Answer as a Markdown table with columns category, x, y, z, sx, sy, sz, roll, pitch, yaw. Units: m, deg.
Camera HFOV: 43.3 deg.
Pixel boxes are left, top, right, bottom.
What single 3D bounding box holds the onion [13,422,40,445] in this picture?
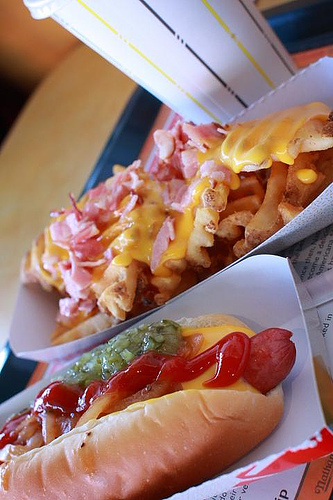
| category | x | y | z | sx | sy | sz | roll | pitch | yaw |
| --- | --- | --- | --- | --- | --- | --- | --- | --- | --- |
| onion | -0.273 | 0.361 | 0.830 | 0.054 | 0.012 | 0.032 | -34 | 4 | 4 |

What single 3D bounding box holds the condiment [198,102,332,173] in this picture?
| category | x | y | z | sx | sy | sz | roll | pitch | yaw |
| --- | --- | --- | --- | --- | --- | --- | --- | --- | --- |
| condiment | 0.205 | -0.237 | 0.906 | 0.293 | 0.129 | 0.228 | -14 | 10 | 22 |

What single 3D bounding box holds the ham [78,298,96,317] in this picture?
| category | x | y | z | sx | sy | sz | roll | pitch | yaw |
| --- | --- | --- | --- | --- | --- | --- | --- | --- | --- |
| ham | -0.215 | 0.163 | 1.184 | 0.040 | 0.049 | 0.020 | -10 | 47 | 41 |

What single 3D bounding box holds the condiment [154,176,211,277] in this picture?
| category | x | y | z | sx | sy | sz | roll | pitch | yaw |
| --- | --- | --- | --- | --- | --- | --- | --- | --- | --- |
| condiment | 0.037 | -0.059 | 0.945 | 0.156 | 0.190 | 0.102 | 13 | 20 | 29 |

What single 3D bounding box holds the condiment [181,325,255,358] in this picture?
| category | x | y | z | sx | sy | sz | roll | pitch | yaw |
| --- | --- | --- | --- | --- | --- | --- | --- | --- | --- |
| condiment | 0.089 | 0.152 | 0.757 | 0.110 | 0.045 | 0.088 | -4 | 9 | -6 |

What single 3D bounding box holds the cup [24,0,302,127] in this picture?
| category | x | y | z | sx | sy | sz | roll | pitch | yaw |
| --- | --- | --- | --- | --- | --- | --- | --- | --- | --- |
| cup | 0.072 | -0.458 | 1.020 | 0.347 | 0.197 | 0.486 | -13 | 10 | 29 |

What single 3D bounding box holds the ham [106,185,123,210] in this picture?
| category | x | y | z | sx | sy | sz | roll | pitch | yaw |
| --- | --- | --- | --- | --- | --- | --- | --- | --- | --- |
| ham | -0.137 | -0.138 | 1.111 | 0.070 | 0.033 | 0.019 | -56 | -7 | -3 |

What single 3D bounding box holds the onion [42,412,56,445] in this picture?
| category | x | y | z | sx | sy | sz | roll | pitch | yaw |
| --- | --- | --- | --- | --- | --- | --- | --- | --- | --- |
| onion | -0.209 | 0.319 | 0.748 | 0.030 | 0.049 | 0.012 | -22 | -28 | 18 |

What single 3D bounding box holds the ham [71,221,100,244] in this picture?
| category | x | y | z | sx | sy | sz | roll | pitch | yaw |
| --- | --- | --- | --- | --- | --- | --- | --- | --- | --- |
| ham | -0.208 | -0.048 | 1.075 | 0.063 | 0.016 | 0.059 | 0 | 58 | 25 |
